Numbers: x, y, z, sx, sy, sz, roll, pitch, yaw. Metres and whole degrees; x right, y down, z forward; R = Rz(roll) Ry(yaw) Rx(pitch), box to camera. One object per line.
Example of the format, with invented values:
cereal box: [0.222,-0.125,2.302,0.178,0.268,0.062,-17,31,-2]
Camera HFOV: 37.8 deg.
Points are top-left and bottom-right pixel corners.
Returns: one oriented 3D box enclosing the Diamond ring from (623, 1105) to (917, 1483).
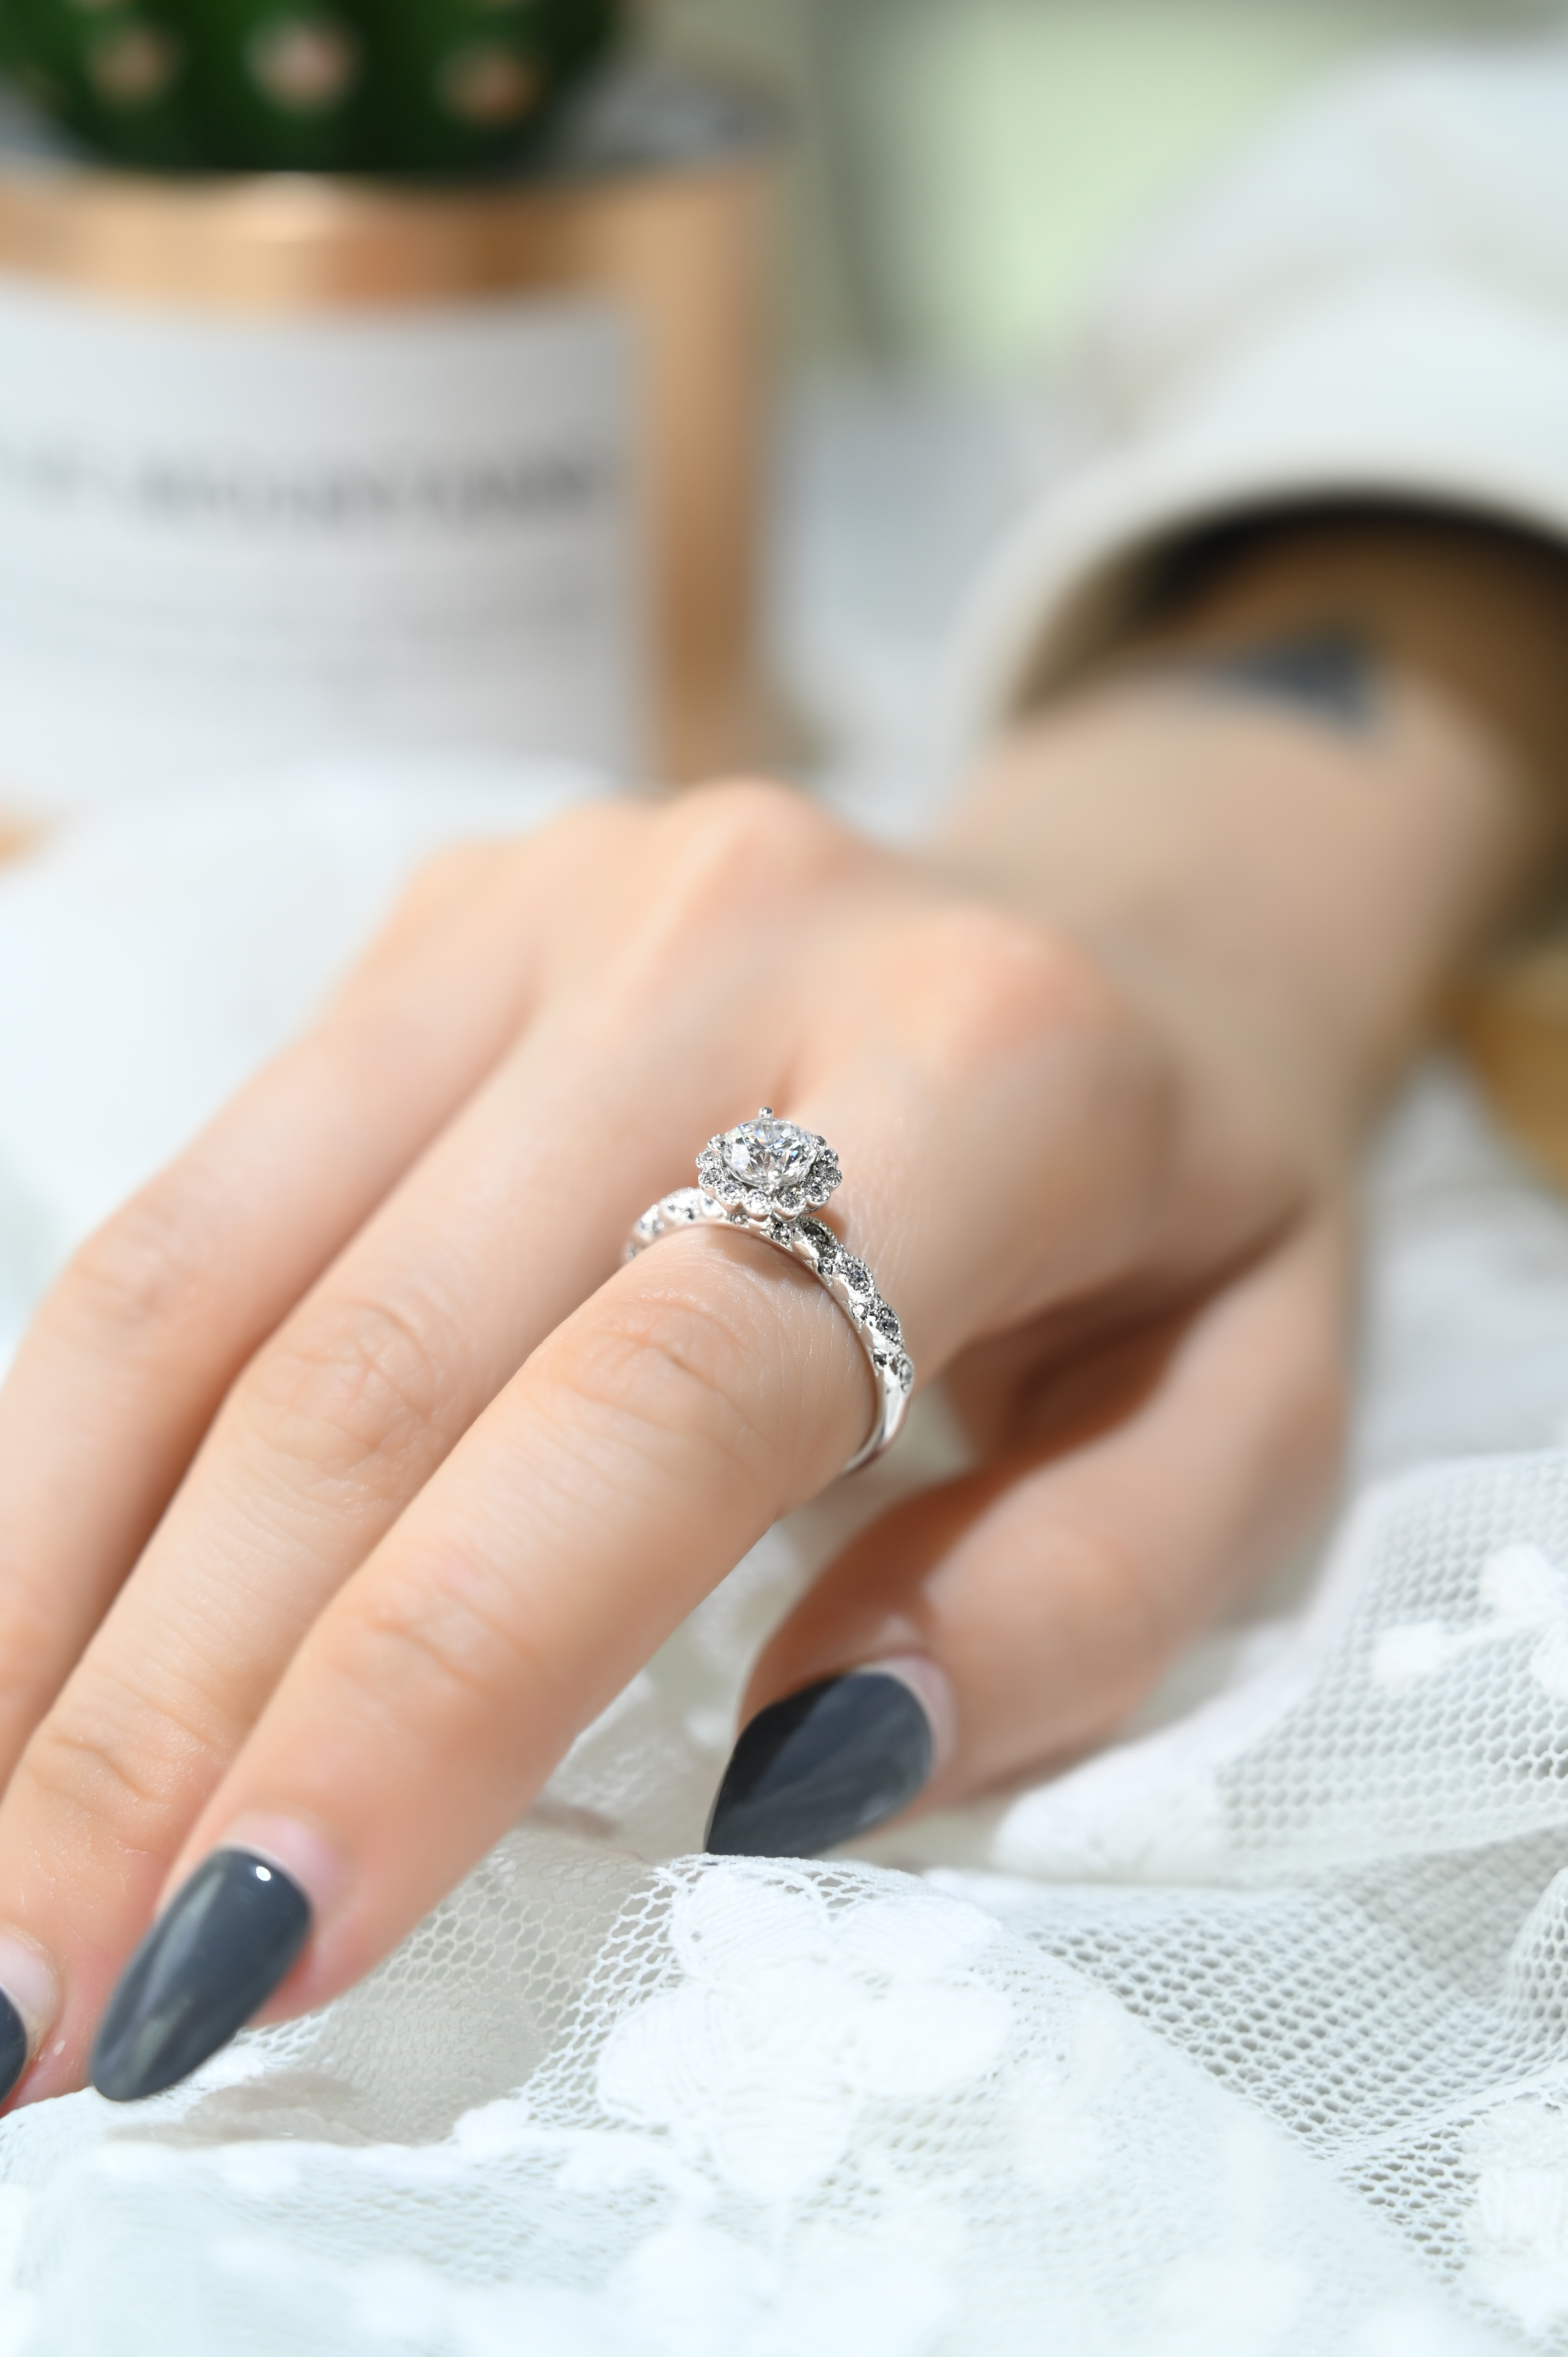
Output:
Diamond ring: [-0.001,0.022,0.416,0.060,0.070,0.026,19,45,21]
